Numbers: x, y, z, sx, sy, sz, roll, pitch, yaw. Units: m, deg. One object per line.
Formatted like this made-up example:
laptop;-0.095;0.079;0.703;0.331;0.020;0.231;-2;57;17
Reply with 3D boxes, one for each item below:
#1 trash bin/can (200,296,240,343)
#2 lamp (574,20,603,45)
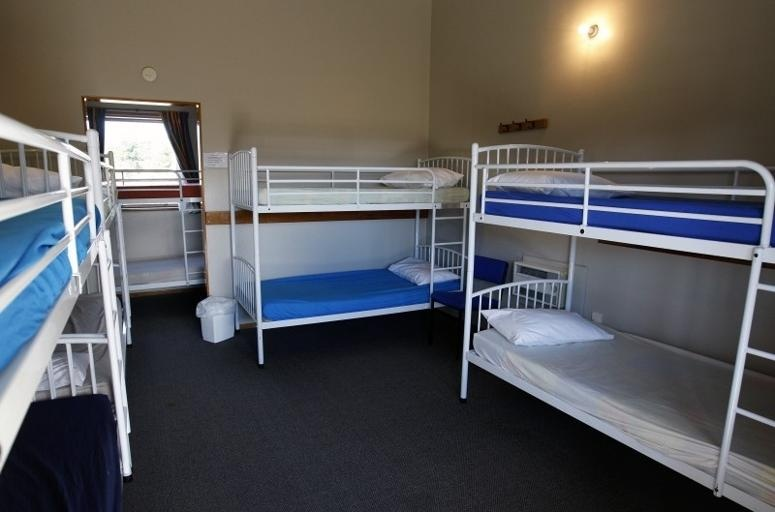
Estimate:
trash bin/can;-2.029;0.764;6.386;0.490;0.623;0.492;1;6;14
lamp;2.035;-2.265;5.186;0.203;0.215;0.049;20;9;34
